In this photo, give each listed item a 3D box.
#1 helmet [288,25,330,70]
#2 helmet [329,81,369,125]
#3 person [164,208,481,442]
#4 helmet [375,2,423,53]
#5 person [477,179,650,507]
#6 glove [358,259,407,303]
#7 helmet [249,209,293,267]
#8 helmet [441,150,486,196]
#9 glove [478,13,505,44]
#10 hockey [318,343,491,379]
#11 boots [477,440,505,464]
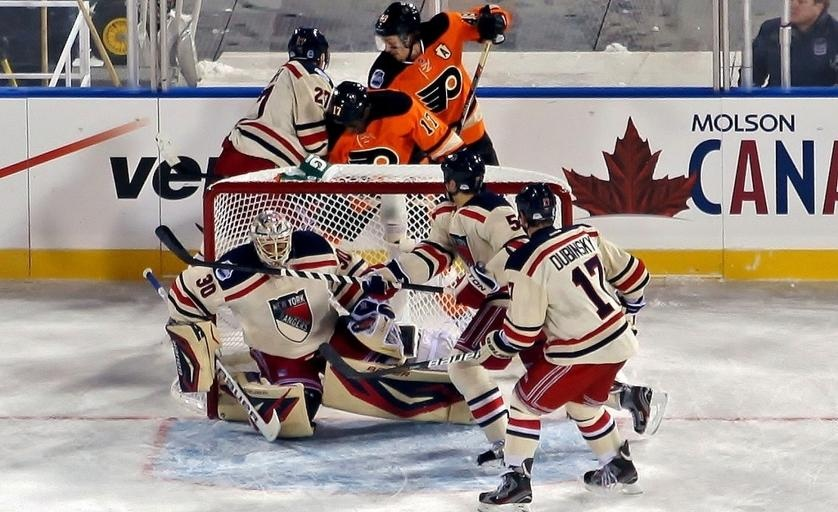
[{"bbox_3d":[-0.668,-1.395,7.177,0.253,0.278,0.300,7,21,10],"label":"helmet"},{"bbox_3d":[-0.415,-0.946,6.625,0.239,0.265,0.189,0,9,-4],"label":"helmet"},{"bbox_3d":[-0.738,0.389,6.170,1.430,1.080,0.904,-8,17,-13],"label":"person"},{"bbox_3d":[-0.135,-1.593,7.205,0.355,0.317,0.260,-11,55,0],"label":"helmet"},{"bbox_3d":[0.742,0.544,5.597,0.894,1.420,0.549,0,9,-4],"label":"person"},{"bbox_3d":[-0.188,0.127,6.153,0.212,0.114,0.270,-14,28,4],"label":"glove"},{"bbox_3d":[-0.805,-0.093,6.070,0.249,0.279,0.302,-5,37,-9],"label":"helmet"},{"bbox_3d":[0.231,-0.472,5.879,0.209,0.238,0.240,-4,28,-16],"label":"helmet"},{"bbox_3d":[0.510,-1.608,7.496,0.159,0.170,0.195,3,26,5],"label":"glove"},{"bbox_3d":[-0.105,0.579,5.864,0.828,0.254,0.513,0,8,-3],"label":"hockey"},{"bbox_3d":[0.392,1.056,5.783,0.148,0.070,0.104,-31,-6,13],"label":"boots"}]
